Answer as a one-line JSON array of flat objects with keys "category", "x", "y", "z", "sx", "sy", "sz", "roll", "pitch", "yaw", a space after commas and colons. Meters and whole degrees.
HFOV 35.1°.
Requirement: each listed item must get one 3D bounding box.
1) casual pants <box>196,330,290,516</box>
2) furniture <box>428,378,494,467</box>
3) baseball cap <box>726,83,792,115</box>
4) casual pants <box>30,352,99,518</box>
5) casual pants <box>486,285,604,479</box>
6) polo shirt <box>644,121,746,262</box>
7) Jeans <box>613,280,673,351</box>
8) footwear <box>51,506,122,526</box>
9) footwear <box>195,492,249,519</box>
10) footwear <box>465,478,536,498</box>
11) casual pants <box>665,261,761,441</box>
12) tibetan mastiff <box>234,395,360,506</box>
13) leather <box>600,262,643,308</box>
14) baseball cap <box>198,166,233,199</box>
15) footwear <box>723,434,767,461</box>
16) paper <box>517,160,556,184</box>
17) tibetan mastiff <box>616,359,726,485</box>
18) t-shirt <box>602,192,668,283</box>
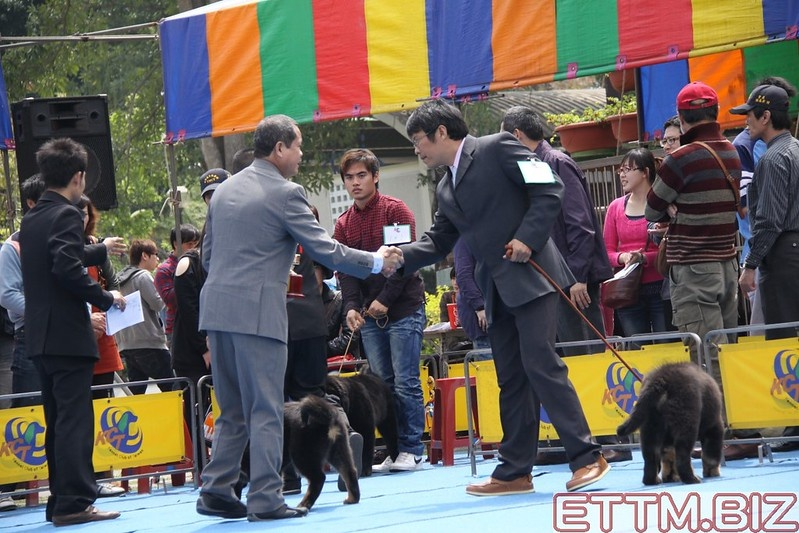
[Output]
[{"category": "casual pants", "x": -1.377, "y": 1.373, "z": 11.313, "sx": 0.781, "sy": 1.641, "sz": 0.339, "roll": -7, "pitch": -4, "yaw": 25}, {"category": "furniture", "x": 0.741, "y": 1.682, "z": 13.969, "sx": 0.710, "sy": 0.909, "sz": 0.672, "roll": -5, "pitch": -3, "yaw": -17}, {"category": "baseball cap", "x": 3.584, "y": -1.652, "z": 12.288, "sx": 0.476, "sy": 0.236, "sz": 0.292, "roll": 3, "pitch": 7, "yaw": 19}, {"category": "casual pants", "x": -3.131, "y": 1.567, "z": 11.870, "sx": 0.563, "sy": 1.508, "sz": 0.267, "roll": -5, "pitch": -3, "yaw": -7}, {"category": "casual pants", "x": 1.259, "y": 1.061, "z": 11.389, "sx": 0.931, "sy": 1.696, "sz": 0.407, "roll": -8, "pitch": -5, "yaw": 42}, {"category": "polo shirt", "x": 2.957, "y": -0.686, "z": 12.347, "sx": 1.053, "sy": 1.375, "sz": 0.742, "roll": -7, "pitch": 8, "yaw": -37}, {"category": "Jeans", "x": 2.621, "y": 0.640, "z": 13.358, "sx": 0.626, "sy": 0.436, "sz": 1.307, "roll": 2, "pitch": 14, "yaw": 9}, {"category": "footwear", "x": -2.954, "y": 2.342, "z": 11.861, "sx": 0.607, "sy": 0.172, "sz": 0.216, "roll": -4, "pitch": -3, "yaw": -18}, {"category": "footwear", "x": -1.598, "y": 2.158, "z": 11.393, "sx": 0.539, "sy": 0.222, "sz": 0.194, "roll": 8, "pitch": 4, "yaw": -17}, {"category": "footwear", "x": 0.955, "y": 1.992, "z": 11.457, "sx": 0.597, "sy": 0.229, "sz": 0.217, "roll": 0, "pitch": -10, "yaw": 3}, {"category": "casual pants", "x": 3.092, "y": 0.494, "z": 12.380, "sx": 0.707, "sy": 1.452, "sz": 0.482, "roll": -18, "pitch": 20, "yaw": -27}, {"category": "tibetan mastiff", "x": -0.978, "y": 1.650, "z": 12.112, "sx": 0.650, "sy": 1.180, "sz": 2.023, "roll": -7, "pitch": 3, "yaw": -30}, {"category": "leather", "x": 2.350, "y": 0.208, "z": 13.032, "sx": 0.270, "sy": 0.506, "sz": 0.416, "roll": 22, "pitch": -37, "yaw": -18}, {"category": "baseball cap", "x": -1.939, "y": -0.887, "z": 12.998, "sx": 0.293, "sy": 0.215, "sz": 0.414, "roll": -21, "pitch": 5, "yaw": 15}, {"category": "footwear", "x": 3.444, "y": 1.785, "z": 12.401, "sx": 0.492, "sy": 0.332, "sz": 0.171, "roll": -1, "pitch": -5, "yaw": 0}, {"category": "paper", "x": 1.230, "y": -0.849, "z": 11.276, "sx": 0.333, "sy": 0.039, "sz": 0.247, "roll": -9, "pitch": 45, "yaw": -33}, {"category": "tibetan mastiff", "x": 2.589, "y": 1.445, "z": 11.505, "sx": 0.653, "sy": 1.104, "sz": 1.825, "roll": -5, "pitch": -9, "yaw": 34}, {"category": "t-shirt", "x": 2.601, "y": -0.304, "z": 13.479, "sx": 0.724, "sy": 0.901, "sz": 0.510, "roll": -1, "pitch": 0, "yaw": 18}]
